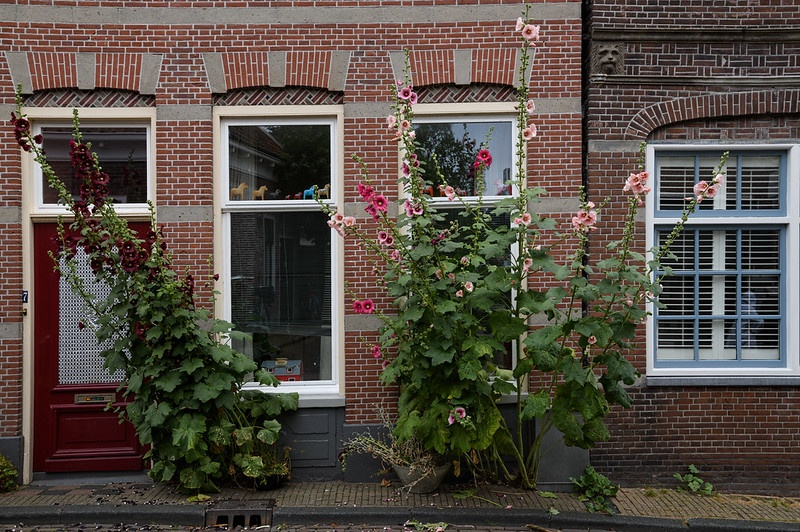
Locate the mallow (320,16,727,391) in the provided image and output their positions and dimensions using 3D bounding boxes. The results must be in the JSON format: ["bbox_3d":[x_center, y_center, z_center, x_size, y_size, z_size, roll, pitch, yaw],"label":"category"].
[{"bbox_3d":[1.598,-0.919,13.278,5.571,5.566,2.414,2,4,12],"label":"mallow"}]

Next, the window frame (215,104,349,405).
[{"bbox_3d":[-1.666,0.039,13.807,2.314,4.559,0.273,1,3,31],"label":"window frame"}]

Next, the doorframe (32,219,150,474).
[{"bbox_3d":[-4.214,1.235,14.116,1.827,3.214,1.348,-1,-9,8],"label":"doorframe"}]

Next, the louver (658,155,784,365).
[{"bbox_3d":[4.530,-0.007,14.342,1.680,3.228,1.194,2,-2,3],"label":"louver"}]
